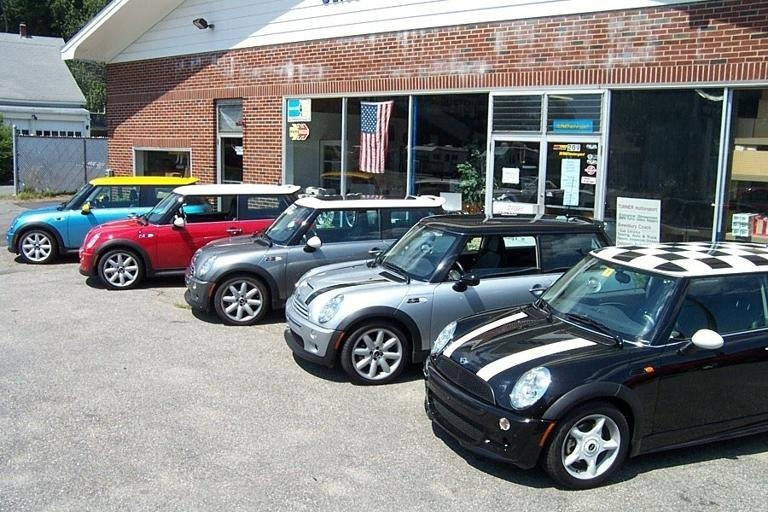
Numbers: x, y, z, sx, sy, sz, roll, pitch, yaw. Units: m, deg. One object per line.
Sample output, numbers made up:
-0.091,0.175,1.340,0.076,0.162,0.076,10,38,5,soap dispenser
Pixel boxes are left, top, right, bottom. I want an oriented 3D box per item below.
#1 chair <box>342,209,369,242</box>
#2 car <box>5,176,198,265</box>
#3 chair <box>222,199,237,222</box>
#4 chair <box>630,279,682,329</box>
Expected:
-0.479,-0.546,9.657,0.558,0.477,0.887,0,-5,-3,chair
-7.067,-0.953,13.743,4.491,1.622,1.998,-1,9,-14,car
-3.157,-0.964,11.509,0.415,0.458,0.331,-3,11,-17,chair
2.810,0.464,5.757,0.139,0.581,0.302,39,-15,-33,chair
